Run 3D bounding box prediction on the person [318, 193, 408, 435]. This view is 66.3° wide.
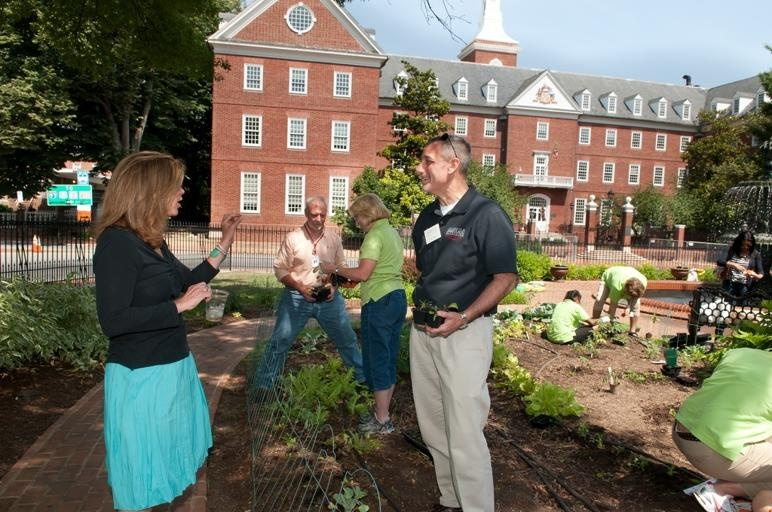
[{"bbox_3d":[-0.140,0.710,7.520,0.636,2.987,0.730,-2,7,-39],"label":"person"}]

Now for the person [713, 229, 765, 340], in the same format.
[{"bbox_3d":[6.959,0.124,11.657,0.785,1.250,0.593,6,6,31],"label":"person"}]

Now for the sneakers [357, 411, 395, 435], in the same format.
[{"bbox_3d":[-0.130,2.083,7.385,0.375,0.161,0.232,5,-3,-11],"label":"sneakers"}]

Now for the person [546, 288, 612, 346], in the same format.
[{"bbox_3d":[3.533,1.130,11.062,0.801,0.995,1.045,7,5,44],"label":"person"}]

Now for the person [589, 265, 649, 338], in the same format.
[{"bbox_3d":[5.108,1.053,12.954,0.797,1.520,1.192,-6,38,8],"label":"person"}]

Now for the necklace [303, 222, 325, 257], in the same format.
[{"bbox_3d":[-0.986,-0.231,8.099,0.316,0.434,0.104,1,7,-19],"label":"necklace"}]

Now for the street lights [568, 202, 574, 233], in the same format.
[{"bbox_3d":[14.920,-3.045,47.739,0.492,2.245,0.874,4,6,17],"label":"street lights"}]
